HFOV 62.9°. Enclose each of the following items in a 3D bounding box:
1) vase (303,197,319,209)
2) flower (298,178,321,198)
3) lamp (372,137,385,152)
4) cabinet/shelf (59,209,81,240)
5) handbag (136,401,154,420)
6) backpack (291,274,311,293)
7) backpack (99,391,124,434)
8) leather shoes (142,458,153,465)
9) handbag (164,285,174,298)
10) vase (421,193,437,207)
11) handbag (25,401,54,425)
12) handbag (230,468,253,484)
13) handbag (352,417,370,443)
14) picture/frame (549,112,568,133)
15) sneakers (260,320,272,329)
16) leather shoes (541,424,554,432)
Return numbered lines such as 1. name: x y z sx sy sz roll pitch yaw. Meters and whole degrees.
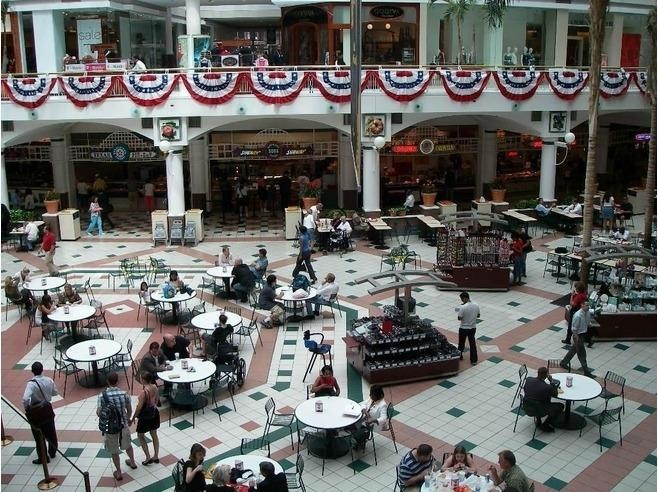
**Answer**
1. vase: -0.863 -1.944 24.083 0.560 0.405 0.551 -1 12 -8
2. flower: -0.932 -2.753 25.525 1.203 1.370 1.042 0 16 2
3. lamp: 2.074 -4.259 22.113 0.546 0.527 0.560 7 -29 -4
4. cabinet/shelf: -10.985 -0.892 22.771 0.794 1.440 1.040 0 12 -2
5. handbag: -3.165 2.830 9.263 0.374 0.399 0.223 2 1 -21
6. backpack: -0.770 1.008 14.921 0.370 0.511 0.485 2 13 -13
7. backpack: -3.655 2.795 8.978 0.373 0.721 0.204 2 12 27
8. leather shoes: -3.190 3.774 9.430 0.203 0.105 0.087 -2 10 5
9. handbag: -4.155 1.205 14.009 0.277 0.291 0.255 -2 5 11
10. vase: 4.531 -2.143 24.569 0.611 0.461 0.613 4 11 23
11. handbag: -4.968 2.867 9.227 0.423 0.390 0.229 -8 22 -38
12. handbag: -1.293 3.400 7.949 0.258 0.106 0.174 4 0 -5
13. handbag: 0.569 3.300 9.599 0.287 0.443 0.237 5 -22 8
14. picture/frame: 10.109 -5.554 23.935 0.918 1.024 0.141 -2 12 -4
15. sneakers: -1.707 2.139 14.699 0.351 0.150 0.130 15 4 33
16. leather shoes: 4.200 3.503 10.404 0.240 0.113 0.203 2 11 26
